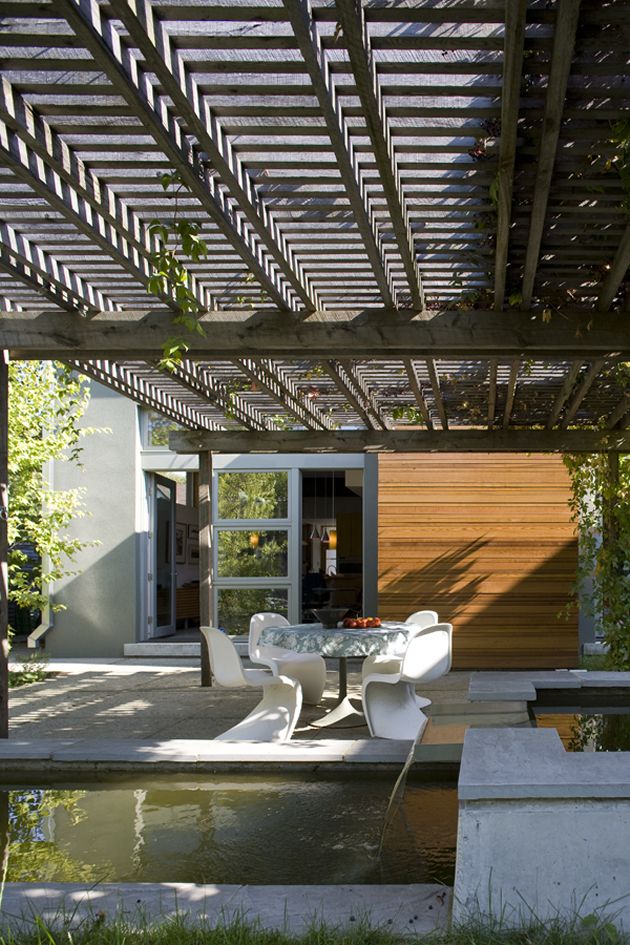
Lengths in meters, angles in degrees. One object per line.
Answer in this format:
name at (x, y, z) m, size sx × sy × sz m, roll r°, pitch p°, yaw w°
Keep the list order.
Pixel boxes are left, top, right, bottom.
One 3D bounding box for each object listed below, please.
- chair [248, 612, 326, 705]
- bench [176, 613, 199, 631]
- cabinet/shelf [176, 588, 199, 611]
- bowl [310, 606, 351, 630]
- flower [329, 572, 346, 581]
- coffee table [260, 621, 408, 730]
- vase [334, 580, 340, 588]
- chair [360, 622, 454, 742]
chair at (-0.291, 1.722, 7.131) m, size 0.542 × 0.803 × 0.595 m, roll 0°, pitch -7°, yaw -32°
bench at (-2.480, 2.864, 14.818) m, size 0.361 × 0.113 × 0.514 m, roll -1°, pitch 3°, yaw -4°
cabinet/shelf at (-2.483, 2.432, 14.882) m, size 0.203 × 0.502 × 0.690 m, roll -9°, pitch -12°, yaw 21°
bowl at (0.130, 1.141, 6.123) m, size 0.281 × 0.104 × 0.270 m, roll -1°, pitch -13°, yaw 0°
flower at (0.373, 1.813, 13.348) m, size 0.268 × 0.134 × 0.207 m, roll -4°, pitch -11°, yaw 1°
coffee table at (0.191, 1.579, 5.992) m, size 1.172 × 0.728 × 1.200 m, roll 2°, pitch -7°, yaw -6°
vase at (0.346, 1.917, 13.265) m, size 0.096 × 0.159 × 0.047 m, roll -2°, pitch -11°, yaw -12°
chair at (0.699, 1.483, 5.507) m, size 0.588 × 0.756 × 0.605 m, roll -11°, pitch -13°, yaw 33°
